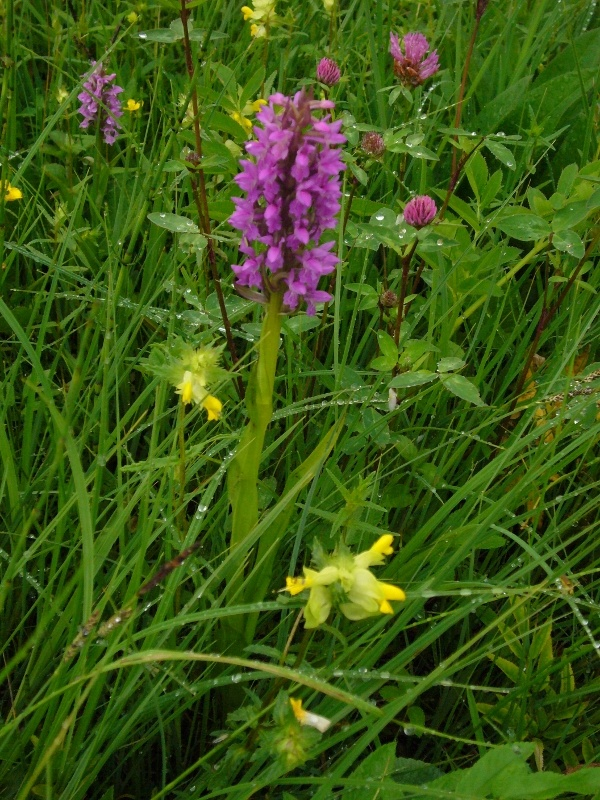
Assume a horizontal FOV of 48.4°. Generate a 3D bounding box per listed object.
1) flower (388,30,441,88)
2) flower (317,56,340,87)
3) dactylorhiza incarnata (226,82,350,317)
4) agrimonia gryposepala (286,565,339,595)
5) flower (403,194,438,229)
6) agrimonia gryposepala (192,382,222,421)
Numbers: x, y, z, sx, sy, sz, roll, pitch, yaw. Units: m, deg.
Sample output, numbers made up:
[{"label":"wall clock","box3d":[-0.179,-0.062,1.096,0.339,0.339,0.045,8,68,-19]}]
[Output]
[{"label":"flower","box3d":[0.293,-0.899,1.749,0.116,0.113,0.254,7,36,3]},{"label":"flower","box3d":[0.070,-0.843,1.716,0.058,0.065,0.171,4,36,0]},{"label":"dactylorhiza incarnata","box3d":[-0.024,-0.283,1.000,0.160,0.340,0.233,0,36,-5]},{"label":"agrimonia gryposepala","box3d":[0.014,0.220,0.790,0.057,0.054,0.035,6,36,2]},{"label":"flower","box3d":[0.246,-0.386,1.377,0.062,0.078,0.049,9,36,6]},{"label":"agrimonia gryposepala","box3d":[-0.135,0.003,0.964,0.061,0.028,0.036,18,38,-8]}]
